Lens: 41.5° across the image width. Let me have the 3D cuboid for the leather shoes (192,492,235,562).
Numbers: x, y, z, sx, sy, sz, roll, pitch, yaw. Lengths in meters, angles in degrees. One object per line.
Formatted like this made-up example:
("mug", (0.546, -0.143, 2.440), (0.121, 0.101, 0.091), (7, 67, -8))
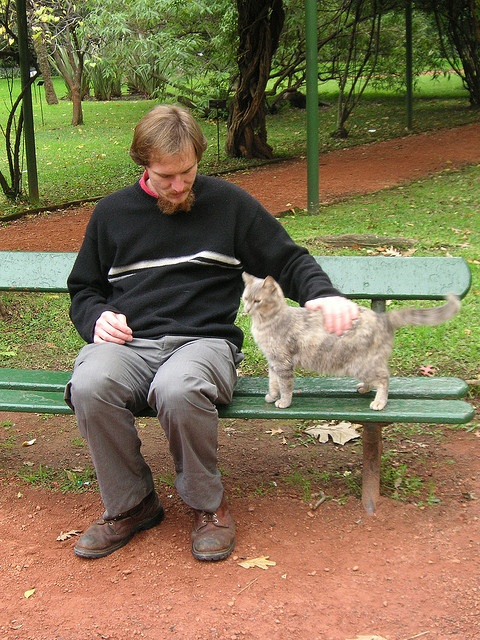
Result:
("leather shoes", (-0.102, 0.804, 2.413), (0.161, 0.180, 0.179), (-3, 8, -3))

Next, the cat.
("cat", (0.415, 0.078, 2.464), (0.794, 0.533, 0.187), (-2, 9, 4))

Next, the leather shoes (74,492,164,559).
("leather shoes", (-0.491, 0.794, 2.577), (0.399, 0.177, 0.140), (-23, 37, -39))
